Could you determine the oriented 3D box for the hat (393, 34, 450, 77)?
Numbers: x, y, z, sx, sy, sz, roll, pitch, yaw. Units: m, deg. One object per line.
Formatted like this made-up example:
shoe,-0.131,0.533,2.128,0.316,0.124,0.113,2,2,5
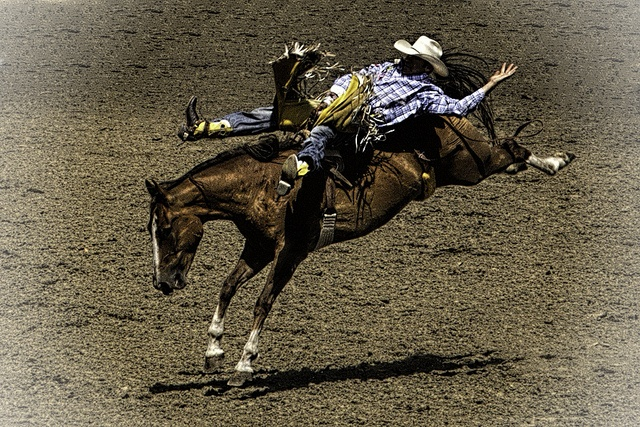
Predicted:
hat,1.214,-1.786,12.796,0.437,0.556,0.187,24,89,53
